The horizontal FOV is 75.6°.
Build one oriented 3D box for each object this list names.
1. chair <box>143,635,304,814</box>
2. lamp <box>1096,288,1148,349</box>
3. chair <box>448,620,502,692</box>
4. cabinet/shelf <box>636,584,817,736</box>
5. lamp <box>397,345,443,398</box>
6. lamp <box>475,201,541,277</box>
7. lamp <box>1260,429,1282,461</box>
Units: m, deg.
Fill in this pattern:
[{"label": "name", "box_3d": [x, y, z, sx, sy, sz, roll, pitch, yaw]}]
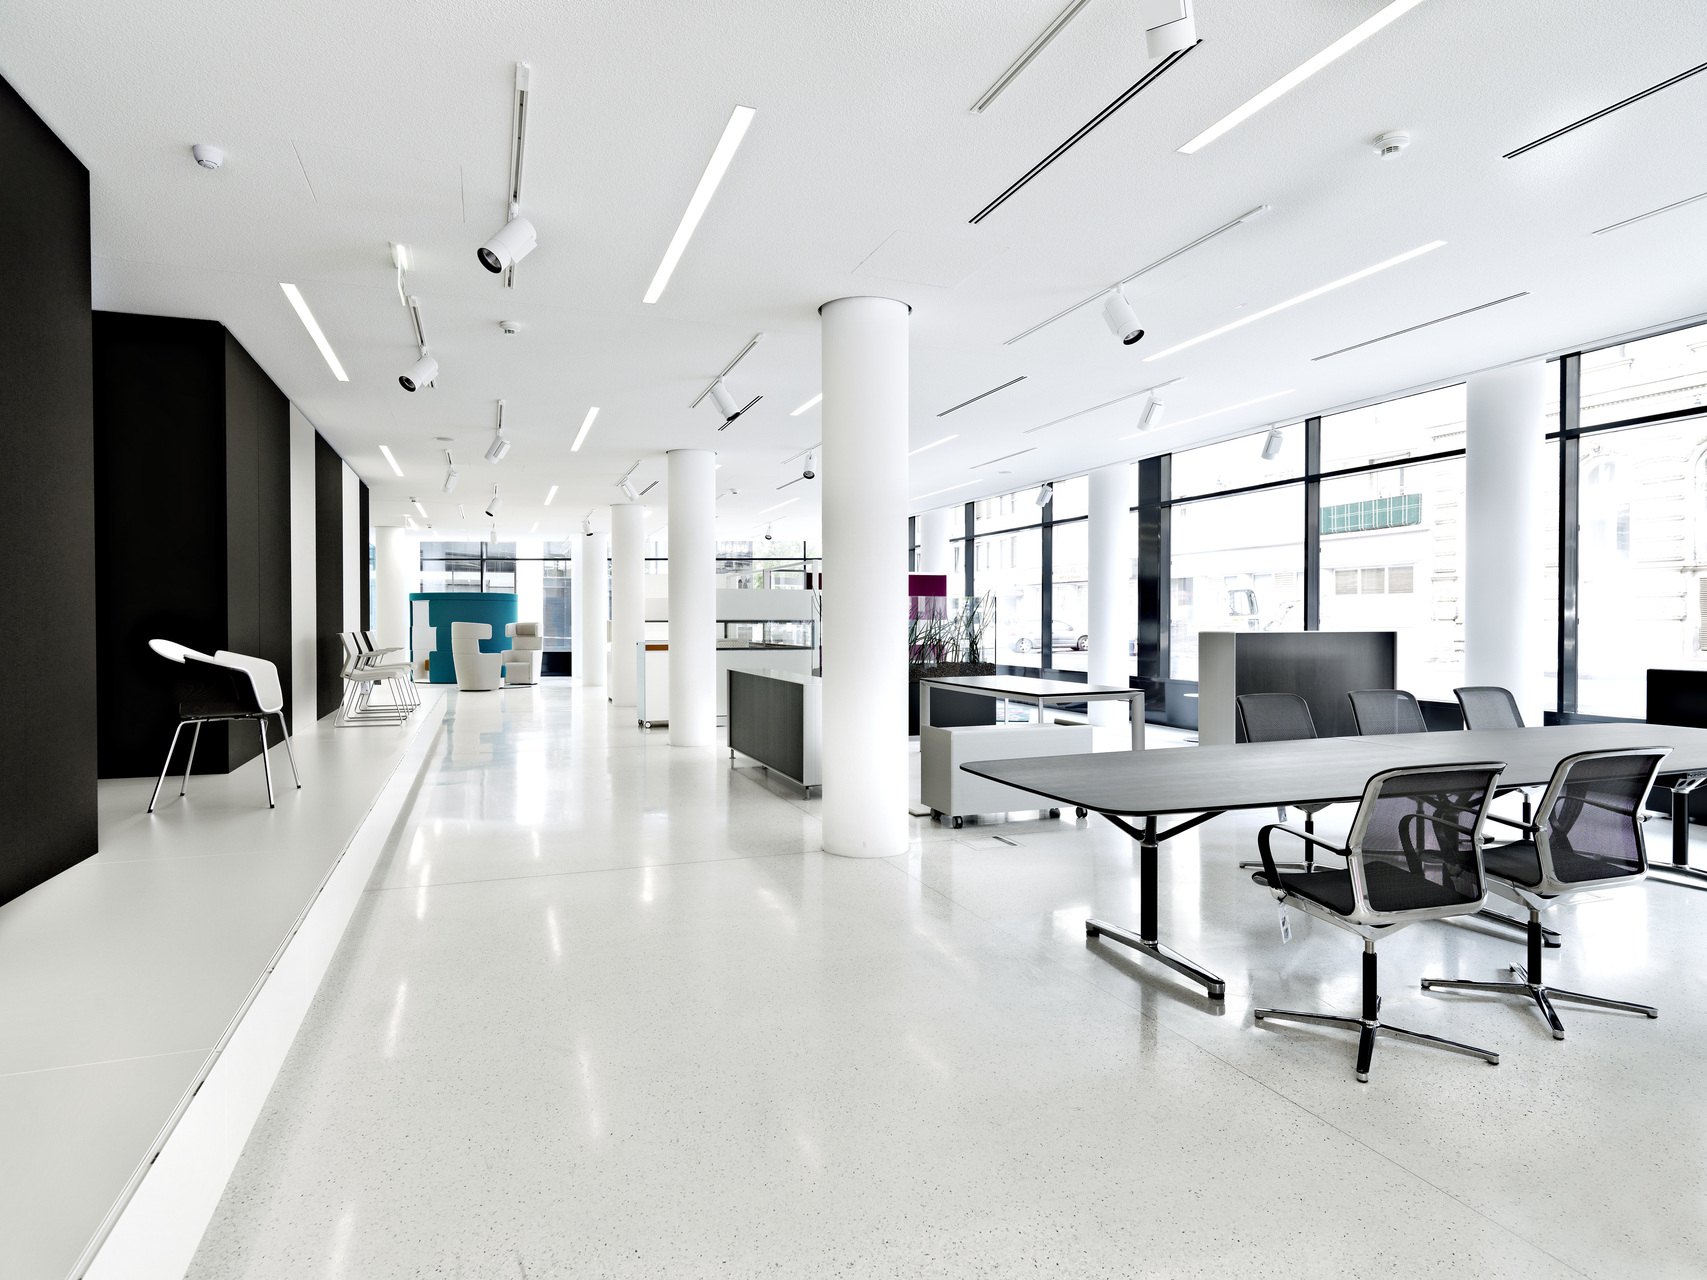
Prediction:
[{"label": "chair", "box_3d": [-3.890, 0.499, 6.750, 0.719, 0.984, 0.790, 0, 5, -19]}, {"label": "lamp", "box_3d": [1.595, -1.928, 6.516, 0.201, 0.306, 0.402, 2, 8, 14]}, {"label": "chair", "box_3d": [-6.482, 0.253, 19.324, 1.124, 1.456, 1.104, -1, 3, -32]}, {"label": "cabinet/shelf", "box_3d": [-1.590, 0.040, 13.978, 1.886, 2.086, 2.127, 0, -1, -11]}, {"label": "lamp", "box_3d": [-3.108, -1.945, 7.894, 0.205, 0.346, 0.344, 11, 43, 6]}, {"label": "lamp", "box_3d": [-1.758, -2.057, 5.587, 0.243, 0.255, 0.392, -1, 30, 28]}, {"label": "lamp", "box_3d": [3.867, -1.815, 10.208, 0.184, 0.266, 0.362, 3, 8, 21]}]
